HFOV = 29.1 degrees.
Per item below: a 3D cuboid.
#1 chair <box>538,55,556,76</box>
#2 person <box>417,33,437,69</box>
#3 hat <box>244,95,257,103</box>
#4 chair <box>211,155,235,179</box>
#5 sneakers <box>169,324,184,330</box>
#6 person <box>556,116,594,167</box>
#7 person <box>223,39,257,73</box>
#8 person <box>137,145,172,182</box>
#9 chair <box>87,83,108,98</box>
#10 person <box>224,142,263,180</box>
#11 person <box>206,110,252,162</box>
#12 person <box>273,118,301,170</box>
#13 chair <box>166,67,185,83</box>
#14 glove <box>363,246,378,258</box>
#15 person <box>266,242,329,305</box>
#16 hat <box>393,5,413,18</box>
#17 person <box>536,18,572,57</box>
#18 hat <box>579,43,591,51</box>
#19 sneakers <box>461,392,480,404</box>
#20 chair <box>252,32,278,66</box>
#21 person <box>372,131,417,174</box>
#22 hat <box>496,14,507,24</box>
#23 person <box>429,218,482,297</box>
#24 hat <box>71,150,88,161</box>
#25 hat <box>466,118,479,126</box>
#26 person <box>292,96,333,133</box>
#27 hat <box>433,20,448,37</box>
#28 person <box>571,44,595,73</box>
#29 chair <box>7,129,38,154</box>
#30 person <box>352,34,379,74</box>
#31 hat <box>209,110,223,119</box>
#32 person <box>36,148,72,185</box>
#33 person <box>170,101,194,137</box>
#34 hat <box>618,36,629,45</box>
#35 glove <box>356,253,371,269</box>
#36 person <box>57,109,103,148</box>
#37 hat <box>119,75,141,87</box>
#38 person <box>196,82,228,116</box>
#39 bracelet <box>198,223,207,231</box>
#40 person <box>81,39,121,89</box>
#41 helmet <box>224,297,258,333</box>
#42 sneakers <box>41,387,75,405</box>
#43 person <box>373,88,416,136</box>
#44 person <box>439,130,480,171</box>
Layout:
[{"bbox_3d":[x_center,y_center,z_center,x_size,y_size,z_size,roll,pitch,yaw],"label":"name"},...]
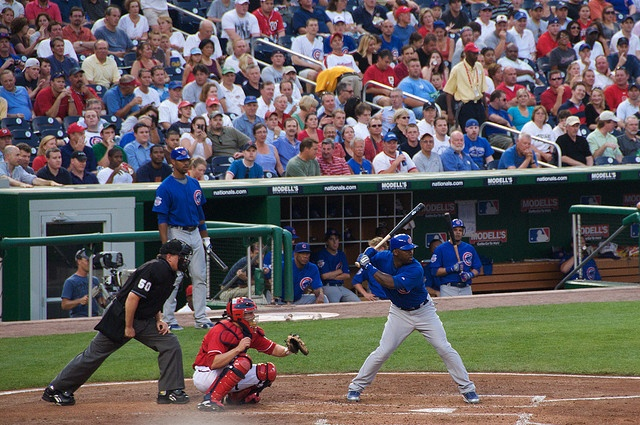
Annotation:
[{"bbox_3d":[6.183,-4.099,33.638,0.344,0.511,0.408,1,-1,-1],"label":"chair"},{"bbox_3d":[2.706,-4.129,31.259,0.450,0.988,0.705,12,21,33],"label":"person"},{"bbox_3d":[-1.630,-2.672,28.487,0.267,0.165,0.401,1,4,-9],"label":"hat"},{"bbox_3d":[-2.226,-1.042,27.547,0.384,0.772,0.519,0,4,-12],"label":"chair"},{"bbox_3d":[-2.817,2.208,23.930,0.249,0.122,0.107,1,1,-3],"label":"sneakers"},{"bbox_3d":[6.223,-1.687,30.066,0.850,1.471,0.892,-3,5,10],"label":"person"},{"bbox_3d":[-2.082,-3.986,30.606,0.441,0.844,0.806,9,17,31],"label":"person"},{"bbox_3d":[-3.563,-1.058,26.708,0.941,0.881,0.545,-2,3,-33],"label":"person"},{"bbox_3d":[-5.218,-2.893,28.876,0.326,0.474,0.308,-1,-2,-39],"label":"chair"},{"bbox_3d":[-1.702,-1.165,27.438,0.553,1.057,0.293,11,12,-25],"label":"person"},{"bbox_3d":[-2.303,-1.711,27.685,1.316,1.211,0.727,-9,2,-14],"label":"person"},{"bbox_3d":[-0.768,-1.554,27.974,1.078,1.030,0.350,-1,11,-39],"label":"person"},{"bbox_3d":[-3.570,-3.460,30.249,0.400,0.438,0.355,-1,0,-27],"label":"chair"},{"bbox_3d":[0.857,0.662,21.566,0.169,0.179,0.173,3,5,36],"label":"glove"},{"bbox_3d":[-0.532,1.336,26.217,1.331,1.492,0.776,4,13,-12],"label":"person"},{"bbox_3d":[2.169,-5.447,33.144,0.271,0.367,0.671,-9,18,-34],"label":"hat"},{"bbox_3d":[6.488,-4.644,33.990,0.761,1.738,0.933,-3,11,-6],"label":"person"},{"bbox_3d":[7.284,-4.572,33.585,0.262,0.216,0.459,0,12,10],"label":"hat"},{"bbox_3d":[2.585,3.157,21.027,0.133,0.158,0.331,-3,-3,-17],"label":"sneakers"},{"bbox_3d":[-1.516,-4.318,32.027,0.545,0.675,0.708,3,-3,-20],"label":"chair"},{"bbox_3d":[1.713,-1.411,28.316,1.018,0.911,0.569,-7,16,-29],"label":"person"},{"bbox_3d":[4.903,-5.297,33.280,0.387,0.209,0.595,3,9,3],"label":"hat"},{"bbox_3d":[3.051,1.458,27.328,1.054,2.684,0.824,-2,9,-8],"label":"person"},{"bbox_3d":[-5.149,-1.233,26.248,0.315,0.233,0.259,-2,15,-11],"label":"hat"},{"bbox_3d":[3.613,-2.200,29.227,0.190,0.134,0.203,3,3,18],"label":"hat"},{"bbox_3d":[-0.362,-2.426,28.841,0.286,0.377,1.072,28,-18,36],"label":"person"},{"bbox_3d":[3.167,-4.933,32.360,0.308,0.448,0.406,-2,21,5],"label":"hat"},{"bbox_3d":[7.170,-4.173,33.478,0.547,0.998,0.521,-7,-34,8],"label":"person"},{"bbox_3d":[-6.597,-1.605,27.343,0.484,0.700,0.543,0,0,-37],"label":"chair"},{"bbox_3d":[1.147,-4.015,31.024,0.498,1.251,0.759,19,28,39],"label":"person"},{"bbox_3d":[-2.367,-2.248,27.584,0.214,0.128,0.321,-3,-3,-16],"label":"hat"},{"bbox_3d":[-5.655,-0.996,26.060,0.801,0.868,0.422,-5,10,-36],"label":"person"},{"bbox_3d":[-2.982,-2.099,27.530,0.646,0.932,0.477,1,-7,-22],"label":"person"},{"bbox_3d":[8.267,-4.759,33.540,0.181,0.280,0.264,0,21,2],"label":"hat"},{"bbox_3d":[0.726,0.828,21.468,0.248,0.260,0.200,-27,21,-20],"label":"glove"},{"bbox_3d":[-5.244,-1.888,27.331,0.721,1.068,0.684,0,-2,-21],"label":"person"},{"bbox_3d":[-4.382,-3.085,28.307,0.399,0.232,0.260,7,6,-35],"label":"hat"},{"bbox_3d":[-2.359,-2.719,28.464,0.495,0.902,0.809,-2,0,-40],"label":"person"},{"bbox_3d":[-2.274,0.240,23.673,0.128,0.116,0.137,1,7,-2],"label":"bracelet"},{"bbox_3d":[-5.146,-3.458,29.097,0.924,1.358,0.953,-2,-6,-4],"label":"person"},{"bbox_3d":[-1.353,1.680,21.018,0.528,0.595,0.468,-1,10,-3],"label":"helmet"},{"bbox_3d":[-4.440,3.121,20.844,0.532,0.297,0.248,12,6,-12],"label":"sneakers"},{"bbox_3d":[1.738,-2.253,29.892,0.858,1.579,0.696,1,15,-18],"label":"person"},{"bbox_3d":[3.350,-1.371,29.030,0.847,1.211,0.881,-4,1,-14],"label":"person"}]
